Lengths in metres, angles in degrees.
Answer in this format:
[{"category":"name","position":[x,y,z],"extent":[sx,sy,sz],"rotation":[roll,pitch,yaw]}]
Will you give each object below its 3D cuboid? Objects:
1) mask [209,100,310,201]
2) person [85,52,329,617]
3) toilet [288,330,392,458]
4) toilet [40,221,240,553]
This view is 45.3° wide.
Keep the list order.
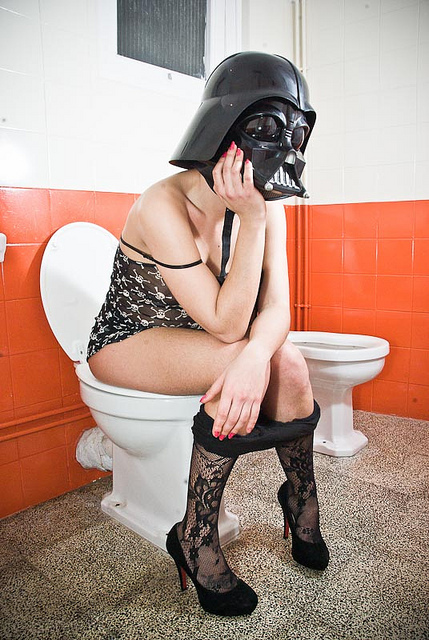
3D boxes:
[{"category":"mask","position":[0.112,-0.308,1.002],"extent":[0.148,0.182,0.189],"rotation":[29,30,30]},{"category":"person","position":[-0.005,0.031,1.071],"extent":[0.464,1.066,0.390],"rotation":[-4,7,-15]},{"category":"toilet","position":[0.400,0.254,1.972],"extent":[0.478,0.372,0.375],"rotation":[1,6,33]},{"category":"toilet","position":[-0.190,0.131,1.327],"extent":[0.438,0.706,0.326],"rotation":[10,16,15]}]
